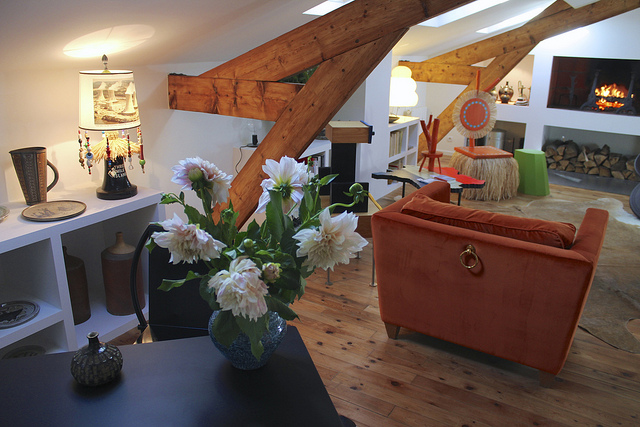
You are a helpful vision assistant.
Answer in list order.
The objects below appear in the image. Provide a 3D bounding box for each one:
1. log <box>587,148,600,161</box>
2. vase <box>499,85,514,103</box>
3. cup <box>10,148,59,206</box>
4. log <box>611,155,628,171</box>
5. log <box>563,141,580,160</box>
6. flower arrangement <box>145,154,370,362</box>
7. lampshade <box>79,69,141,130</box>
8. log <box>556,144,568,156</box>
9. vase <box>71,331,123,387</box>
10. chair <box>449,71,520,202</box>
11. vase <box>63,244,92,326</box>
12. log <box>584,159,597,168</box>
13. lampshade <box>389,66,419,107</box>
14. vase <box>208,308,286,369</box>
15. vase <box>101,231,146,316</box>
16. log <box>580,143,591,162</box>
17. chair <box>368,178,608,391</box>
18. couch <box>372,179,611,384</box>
[{"bbox_3d":[4.865,-1.052,7.470,0.082,0.254,0.170,28,7,-15],"label":"log"},{"bbox_3d":[3.462,-2.233,7.850,0.274,0.321,0.277,-3,15,0],"label":"vase"},{"bbox_3d":[-1.969,-0.245,2.889,0.188,0.401,0.143,-11,18,-34],"label":"cup"},{"bbox_3d":[5.150,-0.873,7.223,0.167,0.263,0.086,12,-22,44],"label":"log"},{"bbox_3d":[4.537,-1.138,7.585,0.209,0.305,0.114,21,-13,23],"label":"log"},{"bbox_3d":[-0.217,0.189,1.540,0.810,0.726,0.600,11,1,-30],"label":"flower arrangement"},{"bbox_3d":[-1.532,-0.817,2.945,0.460,0.386,0.397,-3,25,-35],"label":"lampshade"},{"bbox_3d":[4.361,-1.157,7.618,0.046,0.211,0.207,23,45,-21],"label":"log"},{"bbox_3d":[-0.866,0.558,1.636,0.177,0.163,0.173,6,14,25],"label":"vase"},{"bbox_3d":[2.431,-1.110,6.155,1.005,1.721,1.051,-11,19,-18],"label":"chair"},{"bbox_3d":[-1.831,0.542,3.184,0.124,0.612,0.173,-9,17,-29],"label":"vase"},{"bbox_3d":[4.764,-0.878,7.405,0.172,0.147,0.052,19,7,34],"label":"log"},{"bbox_3d":[1.140,-1.745,5.763,0.359,0.531,0.516,2,14,10],"label":"lampshade"},{"bbox_3d":[-0.299,0.497,1.700,0.323,0.225,0.307,-9,-11,31],"label":"vase"},{"bbox_3d":[-1.553,0.489,3.258,0.253,0.654,0.332,-6,16,-21],"label":"vase"},{"bbox_3d":[4.794,-1.151,7.627,0.158,0.159,0.530,-7,44,28],"label":"log"},{"bbox_3d":[1.358,0.523,3.348,1.431,1.203,1.423,13,33,33],"label":"chair"},{"bbox_3d":[1.279,0.421,3.231,1.529,1.076,1.212,8,19,24],"label":"couch"}]
